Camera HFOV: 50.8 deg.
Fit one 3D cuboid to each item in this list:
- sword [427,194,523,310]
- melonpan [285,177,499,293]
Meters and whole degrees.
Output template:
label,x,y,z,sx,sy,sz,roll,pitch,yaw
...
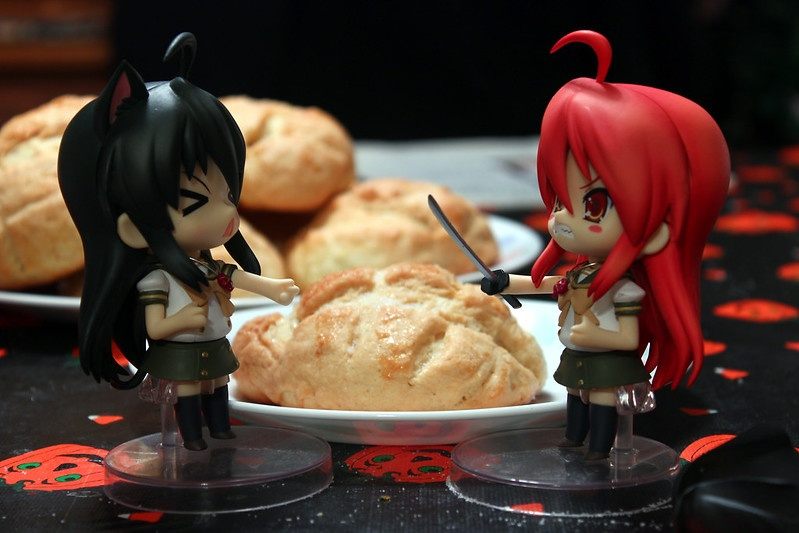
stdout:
label,x,y,z,sx,sy,sz,roll,pitch,yaw
sword,0.146,-0.024,1.653,0.043,0.335,0.026,-23,21,39
melonpan,-0.014,-0.034,1.840,0.357,0.137,0.254,4,-4,-35
